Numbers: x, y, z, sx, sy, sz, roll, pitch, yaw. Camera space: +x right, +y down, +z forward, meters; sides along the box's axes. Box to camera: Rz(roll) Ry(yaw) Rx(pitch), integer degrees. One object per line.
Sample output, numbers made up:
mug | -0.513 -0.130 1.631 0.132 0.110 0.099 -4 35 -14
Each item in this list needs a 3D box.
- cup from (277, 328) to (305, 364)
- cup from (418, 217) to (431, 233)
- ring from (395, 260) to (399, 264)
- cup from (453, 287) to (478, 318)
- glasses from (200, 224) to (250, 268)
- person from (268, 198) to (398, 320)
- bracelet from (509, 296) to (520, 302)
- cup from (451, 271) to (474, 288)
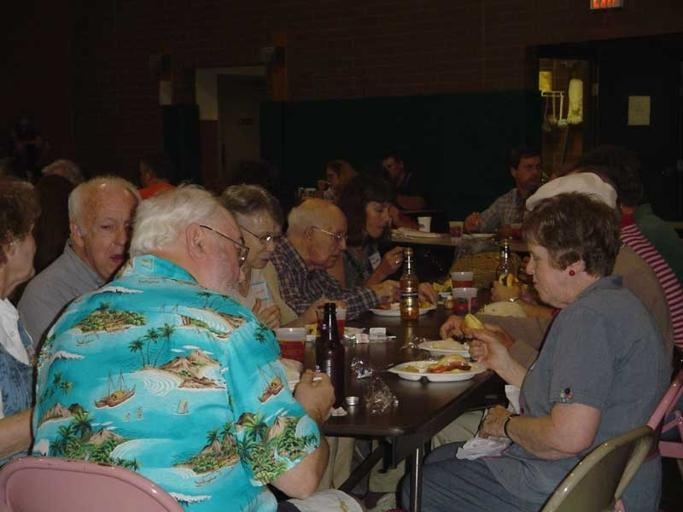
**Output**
cup | -0.173 0.315 2.182 0.120 0.127 0.117 1 1 0
cup | 0.822 -0.304 6.108 0.147 0.153 0.144 0 -2 0
ring | 0.350 0.038 3.855 0.016 0.022 0.007 4 -4 7
cup | 0.666 0.246 3.342 0.137 0.135 0.140 1 -7 0
glasses | -0.308 -0.028 1.666 0.103 0.029 0.100 32 -4 0
person | -0.089 0.045 3.654 0.822 0.641 0.576 4 1 -12
bracelet | 0.925 0.232 3.257 0.031 0.016 0.039 3 9 42
cup | 0.679 0.135 3.436 0.099 0.074 0.093 0 -2 0
